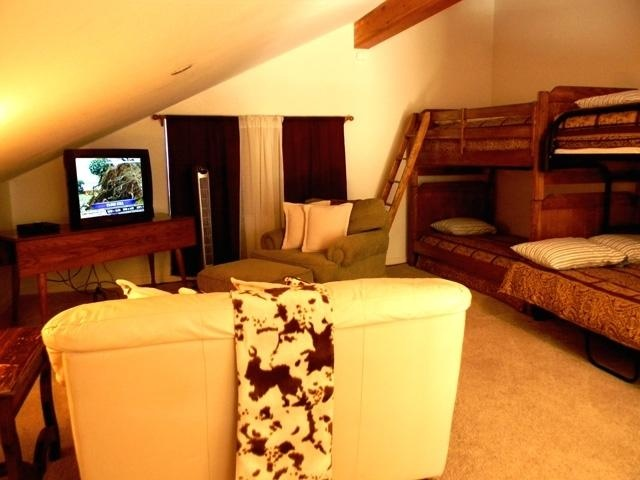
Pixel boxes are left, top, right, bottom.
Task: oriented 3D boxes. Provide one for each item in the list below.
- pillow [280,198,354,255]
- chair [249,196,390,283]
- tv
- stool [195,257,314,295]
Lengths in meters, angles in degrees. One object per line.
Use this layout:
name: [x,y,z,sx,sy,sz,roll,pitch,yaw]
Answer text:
pillow: [-0.041,-0.138,4.718,0.533,0.531,0.164,0,-12,30]
chair: [0.065,0.058,4.715,0.956,0.809,0.912,2,2,44]
tv: [-1.841,-0.433,4.315,0.242,0.568,0.701,9,13,35]
stool: [-0.556,0.260,3.991,0.437,0.196,0.463,-8,13,-33]
